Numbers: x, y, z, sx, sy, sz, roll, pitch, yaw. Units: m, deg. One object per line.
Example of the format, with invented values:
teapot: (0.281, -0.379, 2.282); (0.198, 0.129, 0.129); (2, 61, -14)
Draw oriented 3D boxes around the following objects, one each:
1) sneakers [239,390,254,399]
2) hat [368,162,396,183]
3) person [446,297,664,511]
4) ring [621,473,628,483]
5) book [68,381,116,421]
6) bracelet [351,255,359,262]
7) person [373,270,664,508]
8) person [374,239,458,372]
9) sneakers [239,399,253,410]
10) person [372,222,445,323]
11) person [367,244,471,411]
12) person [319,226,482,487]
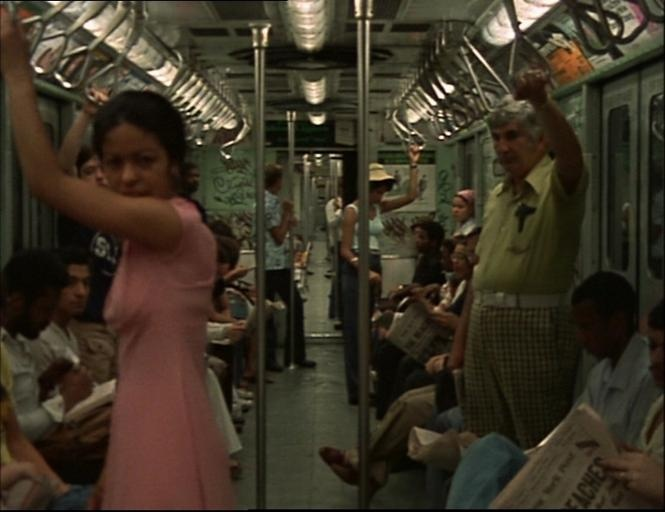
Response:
sneakers: (-0.726, 1.163, 5.110); (0.129, 0.071, 0.052); (20, -49, -34)
hat: (0.282, -0.484, 3.570); (0.047, 0.128, 0.236); (0, 0, 42)
person: (0.797, 0.569, 2.096); (0.778, 0.820, 0.514); (0, 0, 9)
ring: (0.899, 0.687, 1.875); (0.020, 0.015, 0.020); (1, 1, 0)
book: (-1.204, 0.726, 3.119); (0.137, 0.084, 0.291); (-13, 28, 26)
bracelet: (0.173, 0.026, 4.584); (0.040, 0.037, 0.035); (-4, -1, 11)
person: (0.715, 0.539, 2.871); (1.102, 1.360, 0.693); (9, -12, -3)
person: (0.531, 0.316, 4.021); (0.557, 1.038, 0.398); (-18, 36, -24)
sneakers: (-0.703, 1.201, 4.895); (0.122, 0.056, 0.170); (3, 6, 0)
person: (0.495, 0.096, 3.807); (0.398, 0.698, 0.301); (-3, 34, -1)
person: (0.502, 0.526, 4.082); (0.395, 1.249, 0.363); (20, -5, 4)
person: (0.484, 0.765, 3.740); (0.877, 1.403, 0.480); (12, -8, 0)
